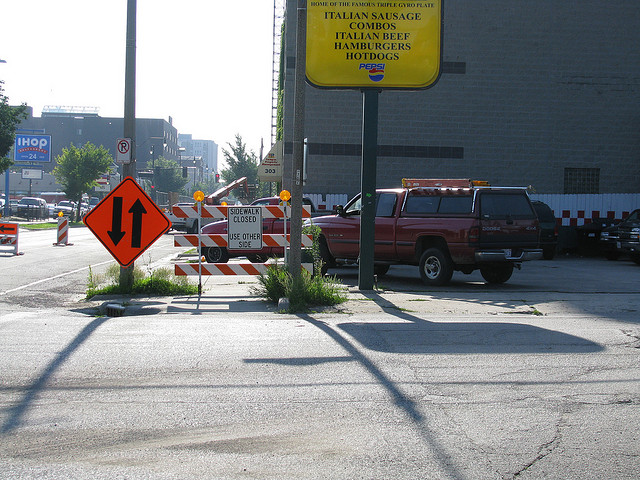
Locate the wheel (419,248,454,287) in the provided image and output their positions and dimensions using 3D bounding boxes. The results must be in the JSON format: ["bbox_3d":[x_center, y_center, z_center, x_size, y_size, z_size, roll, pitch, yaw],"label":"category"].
[{"bbox_3d":[2.641,0.605,17.761,0.298,0.901,0.831,2,-1,-39],"label":"wheel"}]

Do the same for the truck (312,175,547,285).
[{"bbox_3d":[2.324,-0.525,18.855,2.534,2.120,5.496,0,5,-39],"label":"truck"}]

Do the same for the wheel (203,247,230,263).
[{"bbox_3d":[-3.012,0.428,22.571,0.510,0.567,0.179,1,2,11],"label":"wheel"}]

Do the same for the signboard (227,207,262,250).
[{"bbox_3d":[-1.582,-0.246,16.068,0.788,1.009,0.100,1,-3,-6],"label":"signboard"}]

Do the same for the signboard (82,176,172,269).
[{"bbox_3d":[-3.689,-0.305,14.815,1.466,1.730,0.624,1,6,-17],"label":"signboard"}]

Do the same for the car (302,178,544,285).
[{"bbox_3d":[2.347,-0.346,18.883,2.610,2.226,5.650,0,4,-42],"label":"car"}]

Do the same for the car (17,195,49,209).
[{"bbox_3d":[-23.112,-2.975,62.271,1.486,0.787,3.317,2,6,-9],"label":"car"}]

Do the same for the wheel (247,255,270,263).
[{"bbox_3d":[-1.842,0.533,23.315,0.603,0.219,1.059,2,6,-9],"label":"wheel"}]

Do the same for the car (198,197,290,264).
[{"bbox_3d":[-2.388,-0.268,22.185,3.105,1.662,1.693,1,0,3],"label":"car"}]

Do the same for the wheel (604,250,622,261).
[{"bbox_3d":[9.755,0.516,25.916,0.351,0.237,0.340,0,1,0],"label":"wheel"}]

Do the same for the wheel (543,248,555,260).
[{"bbox_3d":[7.750,0.471,26.519,0.361,0.456,0.697,4,6,16],"label":"wheel"}]

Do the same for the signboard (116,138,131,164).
[{"bbox_3d":[-3.927,-1.787,15.567,0.264,0.521,0.387,1,6,-14],"label":"signboard"}]

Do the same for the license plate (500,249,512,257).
[{"bbox_3d":[4.106,0.286,17.302,0.236,0.249,0.128,-2,5,-3],"label":"license plate"}]

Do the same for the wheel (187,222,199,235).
[{"bbox_3d":[-5.820,-0.560,35.513,0.329,0.653,0.642,0,1,0],"label":"wheel"}]
